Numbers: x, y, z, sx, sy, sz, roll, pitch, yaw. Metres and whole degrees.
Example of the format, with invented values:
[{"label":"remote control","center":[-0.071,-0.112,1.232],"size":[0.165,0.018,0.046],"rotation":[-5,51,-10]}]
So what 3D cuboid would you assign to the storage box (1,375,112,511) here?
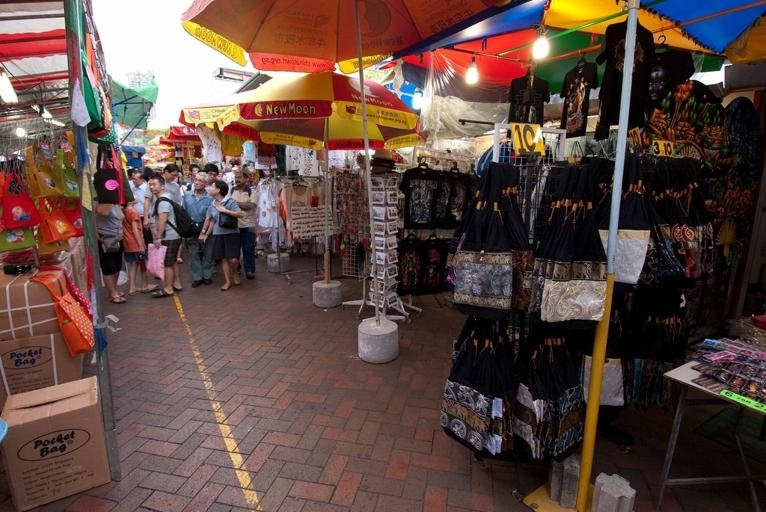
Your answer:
[{"label":"storage box","center":[-3.299,1.870,5.125],"size":[1.049,1.017,1.039],"rotation":[-3,8,-37]}]

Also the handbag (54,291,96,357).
[{"label":"handbag","center":[-3.260,0.723,5.193],"size":[0.246,0.595,0.620],"rotation":[-21,21,-17]}]

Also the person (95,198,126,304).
[{"label":"person","center":[-4.339,0.014,7.936],"size":[0.363,1.707,0.799],"rotation":[-8,12,-30]}]

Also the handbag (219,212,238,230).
[{"label":"handbag","center":[-2.828,-0.646,8.954],"size":[0.123,0.282,0.299],"rotation":[-15,-9,43]}]
